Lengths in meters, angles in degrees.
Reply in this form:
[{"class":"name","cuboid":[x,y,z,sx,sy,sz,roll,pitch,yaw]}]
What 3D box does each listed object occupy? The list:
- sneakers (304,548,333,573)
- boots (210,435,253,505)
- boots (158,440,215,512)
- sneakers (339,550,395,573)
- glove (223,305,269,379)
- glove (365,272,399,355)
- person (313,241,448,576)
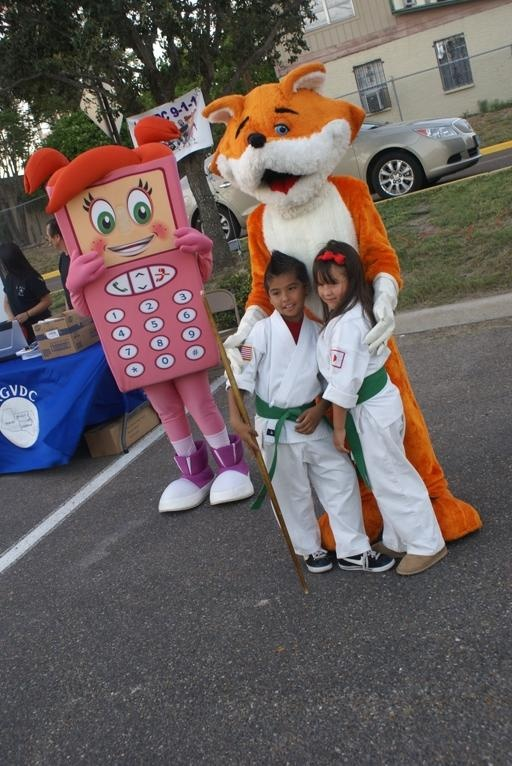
[{"class":"sneakers","cuboid":[0.247,0.694,2.354,0.057,0.057,0.150,-4,-8,-20]},{"class":"boots","cuboid":[-0.135,0.507,3.294,0.178,0.239,0.399,-11,-3,3]},{"class":"boots","cuboid":[-0.333,0.543,3.328,0.192,0.279,0.455,-7,5,21]},{"class":"sneakers","cuboid":[0.399,0.659,2.281,0.223,0.093,0.085,-1,12,6]},{"class":"glove","cuboid":[-0.053,-0.157,2.242,0.094,0.165,0.246,-16,61,14]},{"class":"glove","cuboid":[0.408,-0.223,2.023,0.100,0.122,0.296,-9,53,29]},{"class":"person","cuboid":[0.394,0.105,2.113,0.265,1.180,0.348,-18,19,16]}]
